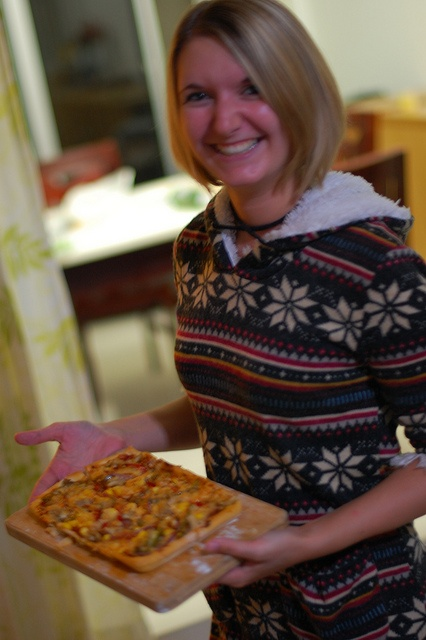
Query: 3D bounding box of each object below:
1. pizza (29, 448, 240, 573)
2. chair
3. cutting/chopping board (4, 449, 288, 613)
[{"bbox_3d":[-0.107,0.253,0.804,0.215,0.031,0.271,-15,18,-38],"label":"pizza"},{"bbox_3d":[-0.626,-0.658,2.555,0.165,0.197,0.768,-18,11,19],"label":"chair"},{"bbox_3d":[-0.090,0.266,0.741,0.220,0.033,0.304,-25,26,-36],"label":"cutting/chopping board"}]
